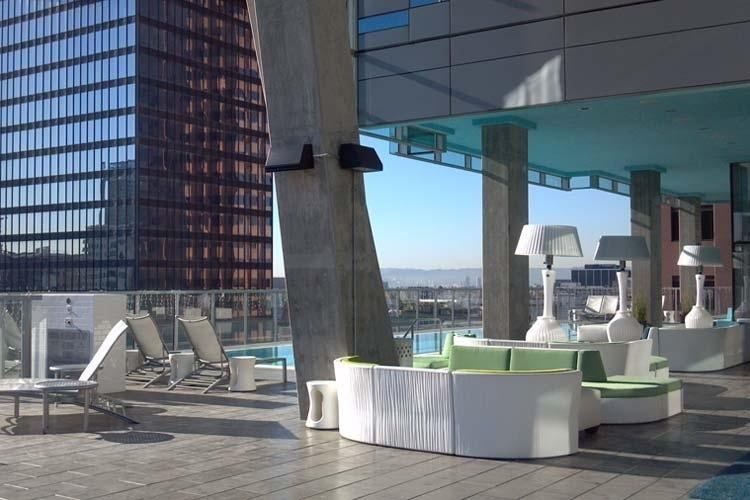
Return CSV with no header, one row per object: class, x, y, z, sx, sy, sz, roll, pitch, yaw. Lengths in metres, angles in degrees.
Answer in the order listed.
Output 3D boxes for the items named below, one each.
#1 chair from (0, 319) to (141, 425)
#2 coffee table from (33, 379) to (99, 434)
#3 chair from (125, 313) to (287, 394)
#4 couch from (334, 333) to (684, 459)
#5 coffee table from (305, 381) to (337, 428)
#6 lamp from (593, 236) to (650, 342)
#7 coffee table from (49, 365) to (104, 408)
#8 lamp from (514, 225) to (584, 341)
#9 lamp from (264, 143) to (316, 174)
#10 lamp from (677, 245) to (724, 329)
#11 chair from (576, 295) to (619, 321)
chair,-4.011,1.649,8.685,1.787,1.130,1.247,2,-5,-12
coffee table,-3.981,2.020,8.494,0.813,0.617,0.838,-3,-7,29
chair,-3.341,1.784,11.537,2.748,1.269,1.396,-5,-5,33
couch,1.660,1.742,7.764,3.787,1.108,1.722,0,-5,-21
coffee table,-0.648,2.013,8.396,0.457,0.517,0.489,-7,-14,37
lamp,4.193,0.655,11.060,0.868,1.811,1.018,-4,-4,22
coffee table,-4.300,1.869,9.383,0.772,0.458,0.764,3,-6,-29
lamp,2.672,0.476,9.952,0.939,1.826,0.861,-3,-4,15
lamp,-1.162,-1.250,8.757,0.727,0.401,0.228,-4,-4,27
lamp,6.636,0.806,13.513,1.025,1.658,1.002,5,-4,5
chair,7.290,1.961,21.700,1.107,0.743,1.125,-5,-8,41
